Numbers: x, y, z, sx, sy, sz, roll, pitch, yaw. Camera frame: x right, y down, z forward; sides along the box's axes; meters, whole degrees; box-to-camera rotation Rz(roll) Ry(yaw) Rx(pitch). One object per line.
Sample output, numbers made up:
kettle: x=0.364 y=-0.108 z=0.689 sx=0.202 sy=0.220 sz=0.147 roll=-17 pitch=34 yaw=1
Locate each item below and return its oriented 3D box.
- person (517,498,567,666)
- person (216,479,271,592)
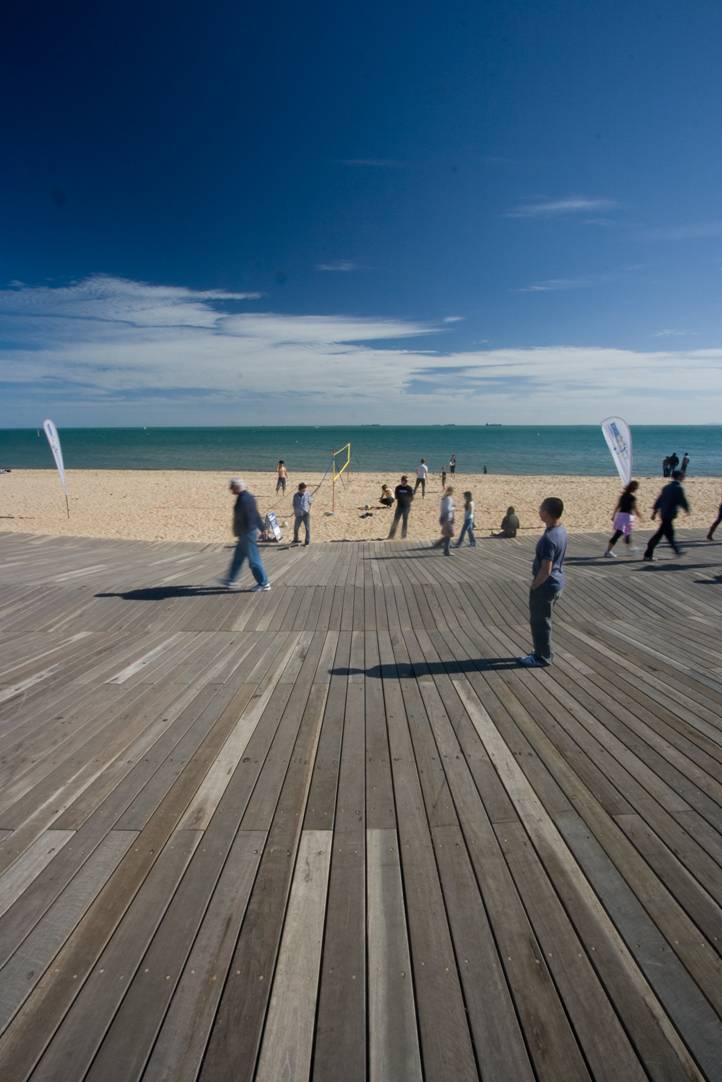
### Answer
person: x=1.311 y=0.254 z=5.171 sx=0.238 sy=1.288 sz=1.025 roll=3 pitch=12 yaw=15
person: x=-1.311 y=-0.132 z=8.155 sx=0.479 sy=1.388 sz=1.805 roll=-2 pitch=12 yaw=-10
